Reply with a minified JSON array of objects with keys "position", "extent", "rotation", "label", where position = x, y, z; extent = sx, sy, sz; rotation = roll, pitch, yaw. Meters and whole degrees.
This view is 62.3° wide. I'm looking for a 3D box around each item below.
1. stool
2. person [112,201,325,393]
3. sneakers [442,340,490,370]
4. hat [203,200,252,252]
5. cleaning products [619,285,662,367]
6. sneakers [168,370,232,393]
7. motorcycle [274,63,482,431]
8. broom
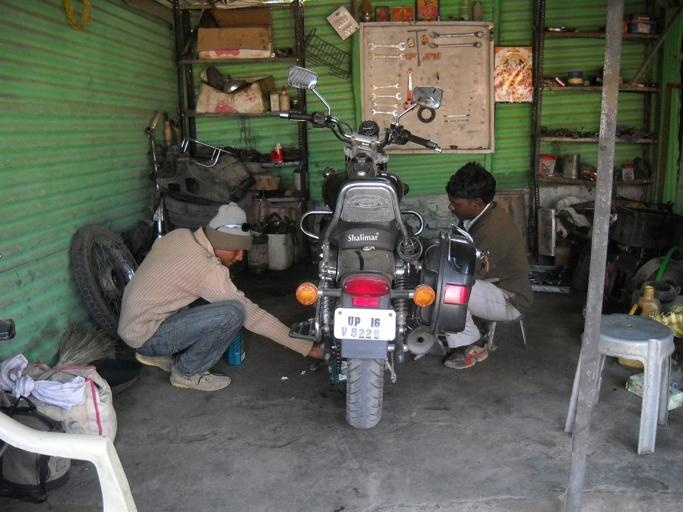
[{"position":[1.774,0.838,3.564],"extent":[0.652,0.798,0.662],"rotation":[12,29,28],"label":"stool"},{"position":[-1.004,0.313,4.107],"extent":[1.090,1.283,1.575],"rotation":[-12,23,-41],"label":"person"},{"position":[1.019,0.806,4.640],"extent":[0.399,0.169,0.163],"rotation":[-7,10,-26],"label":"sneakers"},{"position":[-0.789,-0.229,4.088],"extent":[0.352,0.303,0.273],"rotation":[14,20,24],"label":"hat"},{"position":[2.566,0.565,4.765],"extent":[0.273,0.571,0.269],"rotation":[-6,12,-33],"label":"cleaning products"},{"position":[-1.043,0.932,4.185],"extent":[0.447,0.171,0.163],"rotation":[0,9,-9],"label":"sneakers"},{"position":[0.315,-0.129,3.948],"extent":[1.304,2.340,1.632],"rotation":[0,16,0],"label":"motorcycle"},{"position":[-2.029,0.699,4.362],"extent":[0.332,0.246,0.535],"rotation":[4,15,12],"label":"broom"}]
